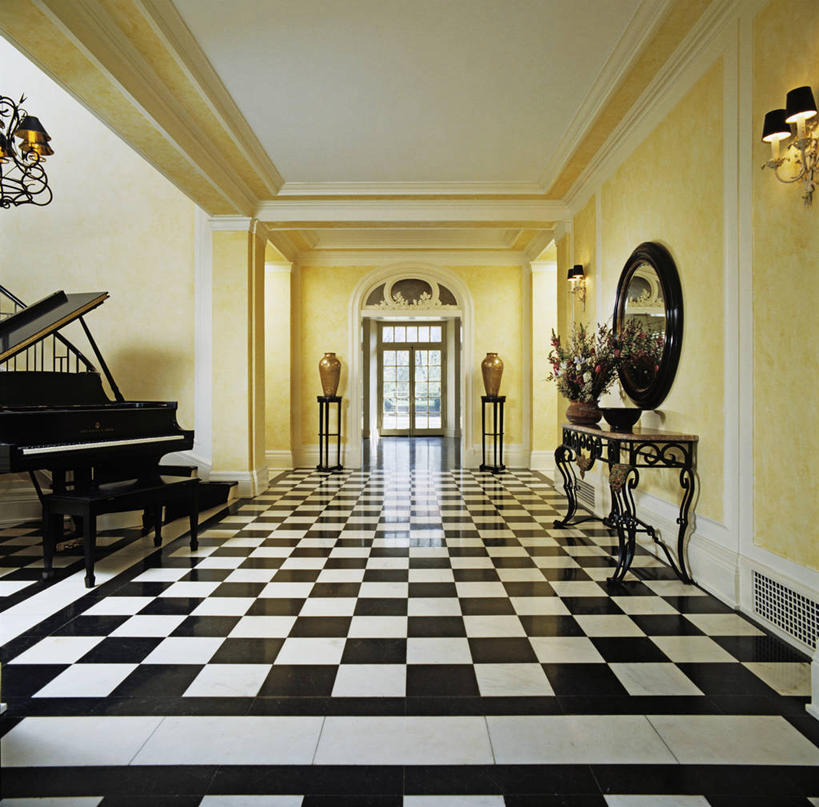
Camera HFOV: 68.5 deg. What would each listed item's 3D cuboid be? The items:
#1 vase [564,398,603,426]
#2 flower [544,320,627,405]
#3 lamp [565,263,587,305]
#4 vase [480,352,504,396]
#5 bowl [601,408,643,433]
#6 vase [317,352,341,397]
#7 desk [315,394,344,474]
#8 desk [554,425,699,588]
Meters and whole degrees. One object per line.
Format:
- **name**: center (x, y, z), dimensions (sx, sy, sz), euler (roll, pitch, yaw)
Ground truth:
- **vase**: center (1.450, 0.071, 4.859), dimensions (0.212, 0.199, 0.376), euler (0, 2, -8)
- **flower**: center (1.491, -0.405, 5.037), dimensions (0.683, 0.837, 0.692), euler (-4, -6, 23)
- **lamp**: center (1.735, -1.234, 6.241), dimensions (0.183, 0.390, 0.464), euler (0, 2, 10)
- **vase**: center (1.180, -0.422, 8.606), dimensions (0.283, 0.627, 0.274), euler (0, 2, 7)
- **bowl**: center (1.556, 0.120, 4.331), dimensions (0.190, 0.118, 0.198), euler (0, -3, 0)
- **vase**: center (-1.165, -0.433, 8.822), dimensions (0.312, 0.682, 0.426), euler (0, 2, -6)
- **desk**: center (-1.163, 0.432, 8.916), dimensions (0.344, 1.124, 0.445), euler (-1, 3, -9)
- **desk**: center (1.488, 0.836, 4.257), dimensions (0.667, 1.055, 1.734), euler (2, -2, 1)
